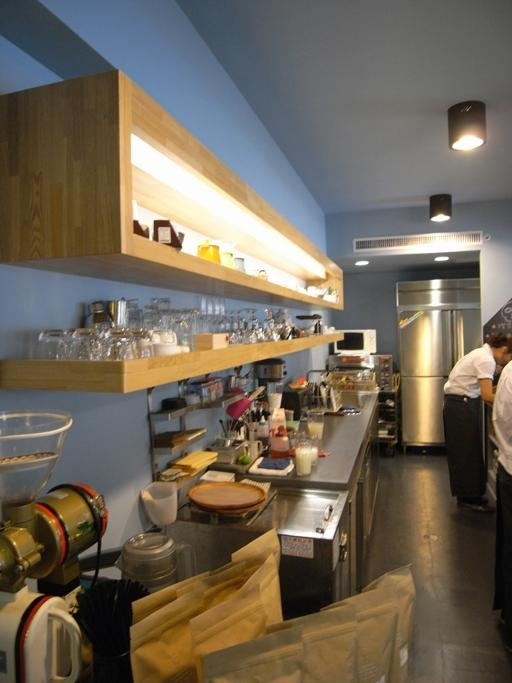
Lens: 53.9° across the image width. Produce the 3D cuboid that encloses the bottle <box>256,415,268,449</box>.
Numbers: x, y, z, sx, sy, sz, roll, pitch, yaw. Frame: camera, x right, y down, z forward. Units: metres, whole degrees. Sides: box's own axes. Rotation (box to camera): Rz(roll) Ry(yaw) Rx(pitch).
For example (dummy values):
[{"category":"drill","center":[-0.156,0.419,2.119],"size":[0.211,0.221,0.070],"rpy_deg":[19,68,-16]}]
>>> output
[{"category":"bottle","center":[0.038,0.485,2.668],"size":[0.067,0.134,0.067],"rpy_deg":[-7,-2,0]}]

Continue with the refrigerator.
[{"category":"refrigerator","center":[2.005,0.283,5.967],"size":[0.868,1.825,0.592],"rpy_deg":[-2,10,-11]}]

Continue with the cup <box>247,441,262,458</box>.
[{"category":"cup","center":[-0.004,0.533,2.498],"size":[0.044,0.087,0.176],"rpy_deg":[-7,-1,11]}]

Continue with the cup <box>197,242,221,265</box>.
[{"category":"cup","center":[-0.151,-0.291,1.689],"size":[0.065,0.067,0.092],"rpy_deg":[3,8,14]}]

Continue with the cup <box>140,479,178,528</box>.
[{"category":"cup","center":[-0.309,0.522,1.636],"size":[0.145,0.155,0.138],"rpy_deg":[-2,0,0]}]

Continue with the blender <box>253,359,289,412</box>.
[{"category":"blender","center":[0.097,0.248,3.178],"size":[0.180,0.281,0.180],"rpy_deg":[-7,11,-25]}]

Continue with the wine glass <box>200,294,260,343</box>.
[{"category":"wine glass","center":[-0.101,-0.074,2.006],"size":[0.104,0.135,0.367],"rpy_deg":[1,3,19]}]
